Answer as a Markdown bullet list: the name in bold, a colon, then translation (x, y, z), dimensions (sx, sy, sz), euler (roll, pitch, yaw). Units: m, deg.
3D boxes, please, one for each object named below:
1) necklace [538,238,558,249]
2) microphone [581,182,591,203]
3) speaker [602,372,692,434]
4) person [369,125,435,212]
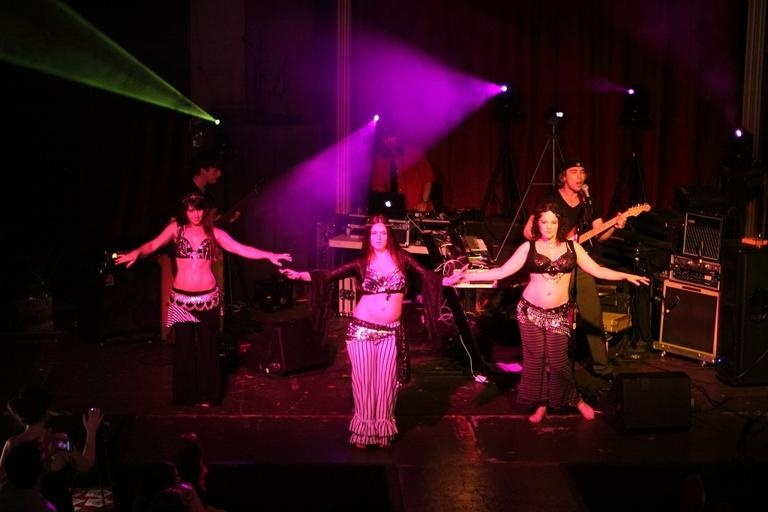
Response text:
- **necklace**: translation (1.592, -0.117, 6.005), dimensions (0.200, 0.087, 0.048), euler (4, 1, 6)
- **microphone**: translation (2.365, -0.743, 7.182), dimensions (0.097, 0.214, 0.540), euler (4, 1, 18)
- **speaker**: translation (2.634, 1.361, 6.174), dimensions (0.702, 0.505, 0.595), euler (-1, 8, 3)
- **person**: translation (0.315, -1.426, 10.133), dimensions (1.041, 1.219, 0.794), euler (3, 1, -1)
